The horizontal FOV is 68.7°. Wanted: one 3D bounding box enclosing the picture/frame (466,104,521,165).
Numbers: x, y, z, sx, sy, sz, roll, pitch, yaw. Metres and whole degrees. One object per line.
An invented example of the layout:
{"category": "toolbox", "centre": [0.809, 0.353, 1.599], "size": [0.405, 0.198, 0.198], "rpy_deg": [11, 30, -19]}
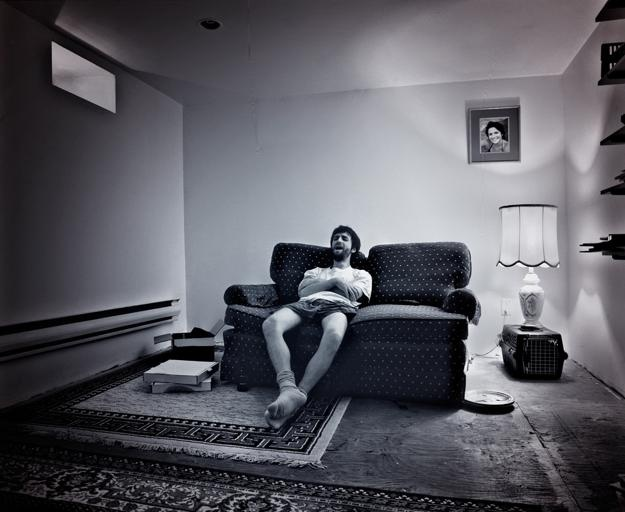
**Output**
{"category": "picture/frame", "centre": [1.578, -1.044, 3.940], "size": [0.482, 0.615, 0.021], "rpy_deg": [-1, -4, 13]}

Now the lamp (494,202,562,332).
{"category": "lamp", "centre": [1.600, 0.059, 3.396], "size": [0.426, 0.888, 0.305], "rpy_deg": [1, 5, 14]}

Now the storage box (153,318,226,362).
{"category": "storage box", "centre": [-0.981, 0.661, 3.609], "size": [0.545, 0.270, 0.311], "rpy_deg": [1, -8, -5]}
